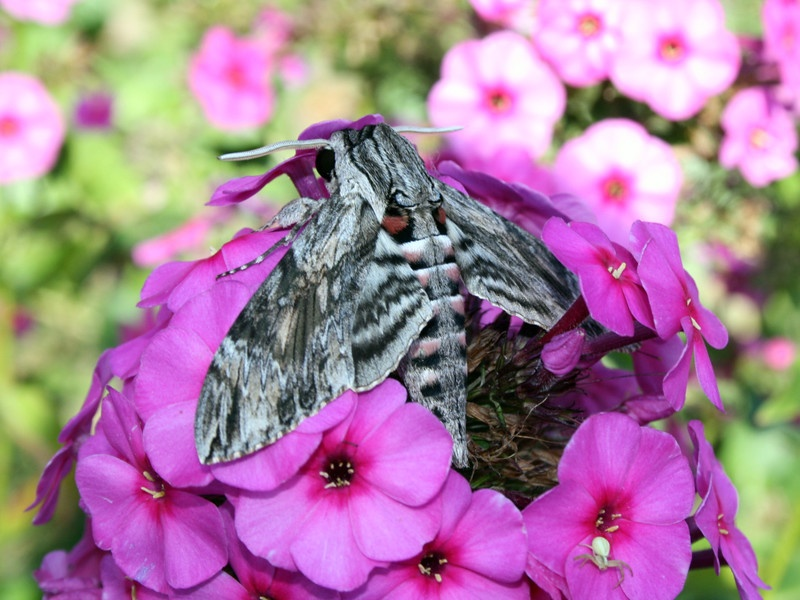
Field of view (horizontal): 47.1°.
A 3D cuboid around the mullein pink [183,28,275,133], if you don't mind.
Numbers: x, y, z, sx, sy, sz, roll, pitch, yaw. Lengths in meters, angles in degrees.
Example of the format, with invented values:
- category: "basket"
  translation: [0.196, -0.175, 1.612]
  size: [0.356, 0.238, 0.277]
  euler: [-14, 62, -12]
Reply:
- category: "mullein pink"
  translation: [-0.427, -0.550, 2.387]
  size: [0.200, 0.068, 0.264]
  euler: [-25, 100, -27]
